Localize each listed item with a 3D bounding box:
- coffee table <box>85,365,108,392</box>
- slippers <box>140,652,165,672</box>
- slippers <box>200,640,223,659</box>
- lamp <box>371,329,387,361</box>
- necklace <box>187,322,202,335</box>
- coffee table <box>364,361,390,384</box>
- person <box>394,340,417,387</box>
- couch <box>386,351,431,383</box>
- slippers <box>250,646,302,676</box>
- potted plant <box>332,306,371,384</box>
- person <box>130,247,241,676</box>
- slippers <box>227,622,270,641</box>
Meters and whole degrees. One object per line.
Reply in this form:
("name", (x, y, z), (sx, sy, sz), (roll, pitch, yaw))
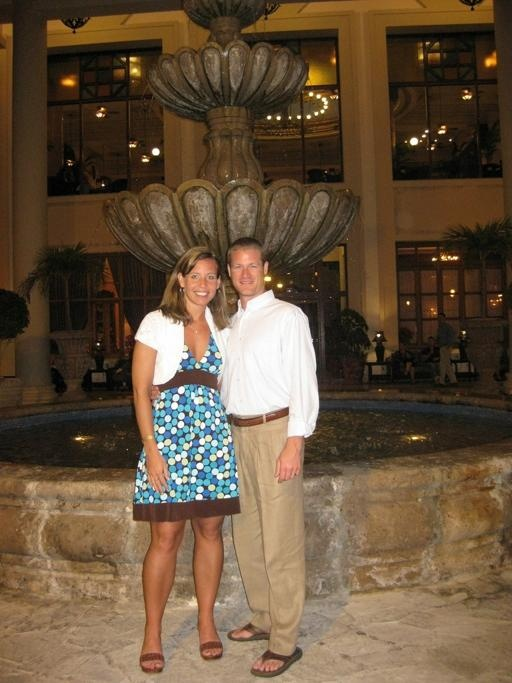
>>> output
("coffee table", (-3.272, 0.787, 14.361), (0.510, 0.344, 0.485), (-1, 1, 3))
("slippers", (-0.351, 1.082, 2.358), (0.078, 0.047, 0.068), (-3, 7, -13))
("slippers", (-0.156, 1.084, 2.452), (0.079, 0.055, 0.062), (-3, 7, -8))
("lamp", (2.680, 0.145, 15.206), (0.287, 0.612, 0.882), (-1, 7, 10))
("necklace", (-0.220, -0.044, 2.549), (0.042, 0.037, 0.011), (1, -6, -33))
("coffee table", (2.575, 0.682, 14.868), (0.458, 0.393, 0.435), (0, -2, 0))
("person", (3.023, 0.458, 14.333), (0.456, 0.740, 1.217), (-1, 7, 12))
("couch", (3.182, 0.442, 14.359), (1.090, 0.696, 0.590), (0, -3, -3))
("slippers", (0.079, 1.082, 2.378), (0.188, 0.056, 0.085), (-7, 8, -41))
("potted plant", (1.859, 0.126, 13.780), (0.722, 1.377, 1.061), (-2, 7, 6))
("person", (-0.256, 0.399, 2.515), (0.376, 1.454, 0.544), (-3, 7, -3))
("slippers", (-0.024, 1.077, 2.610), (0.142, 0.047, 0.054), (5, -1, -7))
